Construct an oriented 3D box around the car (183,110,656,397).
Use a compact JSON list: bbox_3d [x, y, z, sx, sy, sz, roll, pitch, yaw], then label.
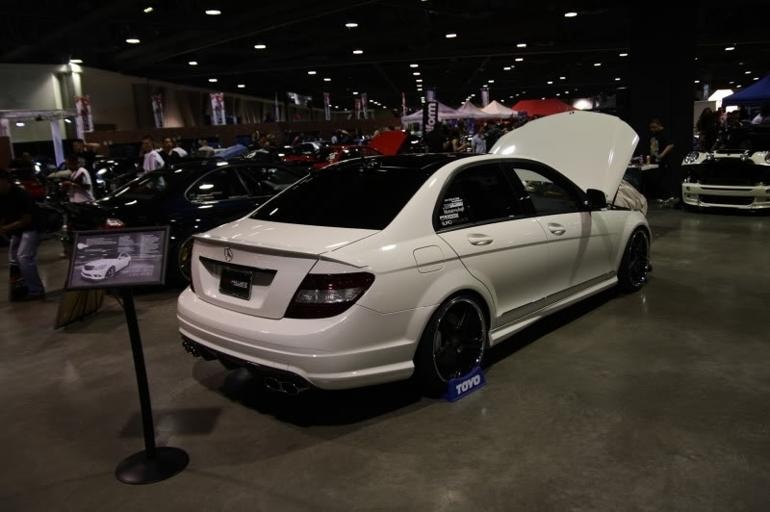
[{"bbox_3d":[0.934,-0.040,5.698,6.284,2.444,2.572,-17,21,-40],"label":"car"}]
